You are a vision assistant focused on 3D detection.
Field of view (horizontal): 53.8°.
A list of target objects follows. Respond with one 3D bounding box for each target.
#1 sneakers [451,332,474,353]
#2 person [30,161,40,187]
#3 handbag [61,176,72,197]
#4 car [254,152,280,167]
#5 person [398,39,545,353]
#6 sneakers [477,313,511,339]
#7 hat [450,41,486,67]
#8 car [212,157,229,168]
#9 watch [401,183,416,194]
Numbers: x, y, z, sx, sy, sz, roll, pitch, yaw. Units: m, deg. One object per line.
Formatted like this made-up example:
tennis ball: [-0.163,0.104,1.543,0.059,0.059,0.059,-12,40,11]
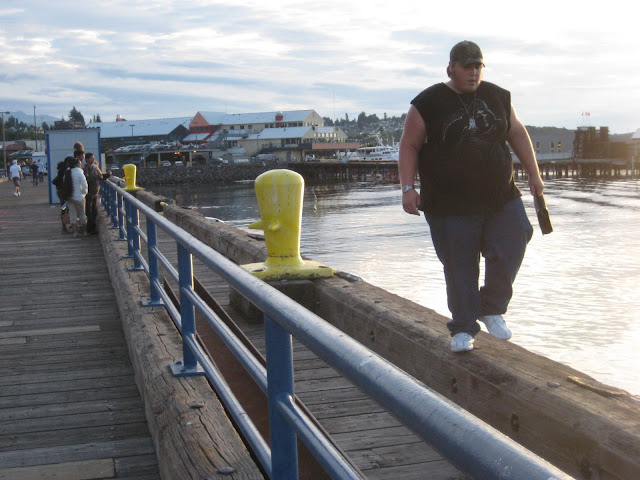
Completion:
sneakers: [0.810,0.566,3.507,0.146,0.108,0.152,0,7,1]
person: [-15.869,-3.711,35.125,0.280,1.254,0.914,-4,7,-29]
handbag: [-4.856,-1.041,12.123,0.242,0.364,0.326,0,-6,4]
car: [-9.504,-14.726,114.688,4.077,2.917,3.802,0,3,-7]
person: [0.952,-0.262,3.737,0.898,1.824,0.598,-2,7,-16]
sneakers: [1.101,0.516,4.028,0.100,0.123,0.295,-6,17,-24]
hat: [0.860,-1.090,3.674,0.125,0.166,0.166,-5,8,-36]
car: [-16.586,-13.021,105.676,3.097,1.831,5.229,-1,5,-7]
watch: [0.546,-0.310,3.823,0.081,0.050,0.082,1,0,-27]
